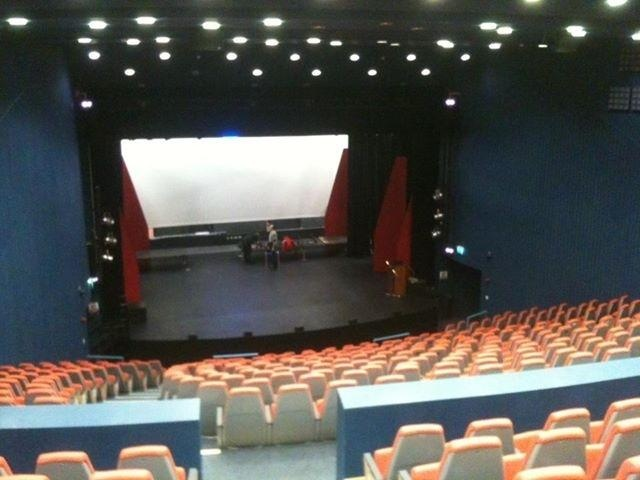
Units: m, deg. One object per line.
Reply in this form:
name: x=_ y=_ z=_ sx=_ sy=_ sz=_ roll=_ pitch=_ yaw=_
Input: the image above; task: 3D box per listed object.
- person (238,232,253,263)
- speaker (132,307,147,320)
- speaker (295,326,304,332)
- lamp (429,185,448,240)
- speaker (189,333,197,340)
person: x=-2.526 y=0.363 z=19.556 sx=0.431 sy=0.869 sz=0.347 roll=-2 pitch=-18 yaw=-1
speaker: x=-5.175 y=2.144 z=16.180 sx=0.323 sy=0.347 sz=0.232 roll=0 pitch=-56 yaw=-6
speaker: x=-0.547 y=2.451 z=15.395 sx=0.127 sy=0.097 sz=0.133 roll=-1 pitch=0 yaw=-13
lamp: x=3.917 y=-0.876 z=18.583 sx=0.477 sy=1.648 sz=1.263 roll=-4 pitch=-19 yaw=5
speaker: x=-3.343 y=2.569 z=14.890 sx=0.188 sy=0.147 sz=0.107 roll=-1 pitch=-7 yaw=-9
